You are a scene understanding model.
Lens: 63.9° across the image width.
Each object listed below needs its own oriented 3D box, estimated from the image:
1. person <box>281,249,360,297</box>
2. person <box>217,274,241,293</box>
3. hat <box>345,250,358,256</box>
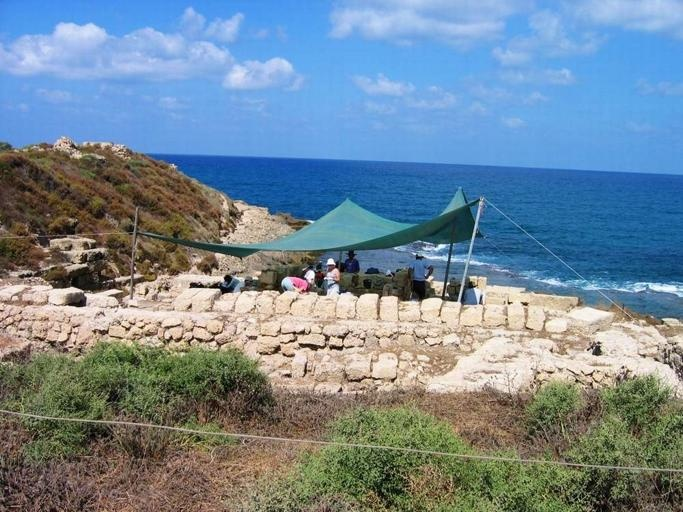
[{"bbox_3d":[-0.600,0.445,11.516,1.213,0.556,0.787,-8,12,-6],"label":"person"},{"bbox_3d":[-2.429,0.599,12.088,0.494,0.344,1.142,1,3,-11],"label":"person"},{"bbox_3d":[0.269,-0.106,16.317,0.353,0.133,0.364,1,-5,-5],"label":"hat"}]
